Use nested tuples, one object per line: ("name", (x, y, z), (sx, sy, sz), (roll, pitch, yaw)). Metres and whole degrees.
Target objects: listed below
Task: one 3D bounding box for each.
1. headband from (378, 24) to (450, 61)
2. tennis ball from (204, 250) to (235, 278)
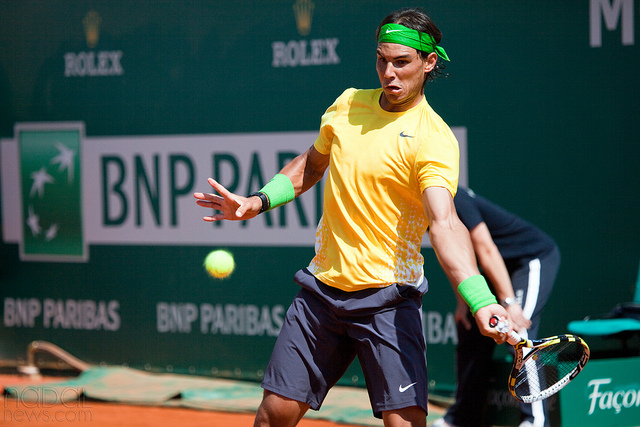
("headband", (0.582, -1.078, 5.365), (0.439, 0.136, 0.113), (1, 0, -11))
("tennis ball", (-0.816, 0.409, 6.999), (0.194, 0.228, 0.116), (-6, -5, 12))
